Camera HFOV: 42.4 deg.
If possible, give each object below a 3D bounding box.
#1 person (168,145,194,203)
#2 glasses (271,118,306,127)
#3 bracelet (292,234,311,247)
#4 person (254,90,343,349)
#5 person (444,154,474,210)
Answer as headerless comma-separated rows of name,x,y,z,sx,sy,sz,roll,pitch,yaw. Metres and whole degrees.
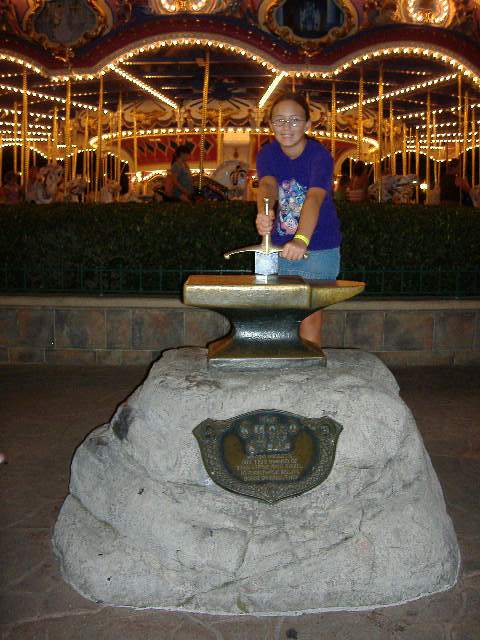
person,-0.946,-2.403,10.089,0.432,0.895,1.423,-1,11,-5
glasses,0.214,-0.867,2.739,0.133,0.040,0.027,1,11,5
bracelet,0.258,-0.321,2.525,0.056,0.023,0.059,9,7,-14
person,0.266,-0.437,2.884,0.416,1.138,0.884,2,11,8
person,3.281,-2.033,9.323,0.465,0.600,0.936,4,11,17
